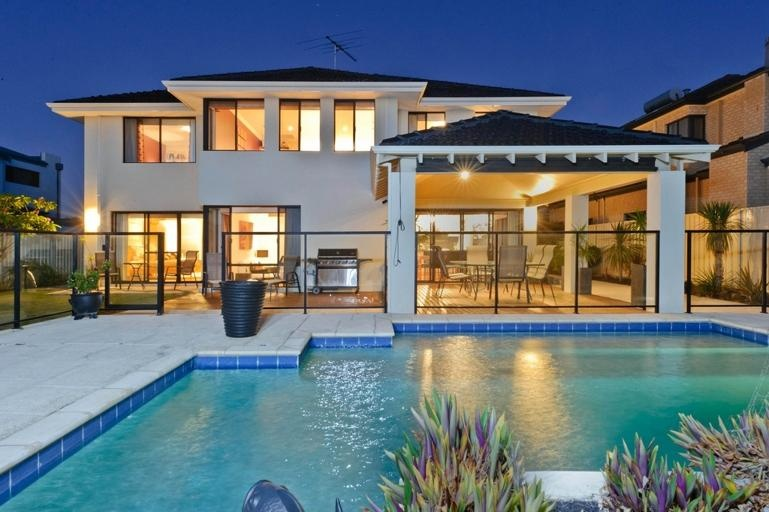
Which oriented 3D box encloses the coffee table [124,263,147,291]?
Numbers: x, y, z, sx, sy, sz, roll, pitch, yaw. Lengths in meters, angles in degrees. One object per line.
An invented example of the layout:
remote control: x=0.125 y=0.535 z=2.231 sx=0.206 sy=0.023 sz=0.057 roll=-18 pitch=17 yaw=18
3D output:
coffee table: x=-8.757 y=0.737 z=21.690 sx=0.981 sy=1.118 sz=0.989 roll=0 pitch=-3 yaw=-14

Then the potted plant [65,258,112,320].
potted plant: x=-7.243 y=0.884 z=15.277 sx=0.825 sy=1.209 sz=0.980 roll=3 pitch=-8 yaw=-37

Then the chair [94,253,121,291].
chair: x=-8.467 y=0.432 z=19.272 sx=0.674 sy=1.034 sz=0.716 roll=-11 pitch=14 yaw=-23

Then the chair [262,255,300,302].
chair: x=-3.037 y=0.570 z=19.082 sx=0.888 sy=1.140 sz=2.583 roll=0 pitch=-2 yaw=-8

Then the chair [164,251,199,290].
chair: x=-7.067 y=0.476 z=21.680 sx=0.846 sy=1.279 sz=2.935 roll=1 pitch=-3 yaw=-22
